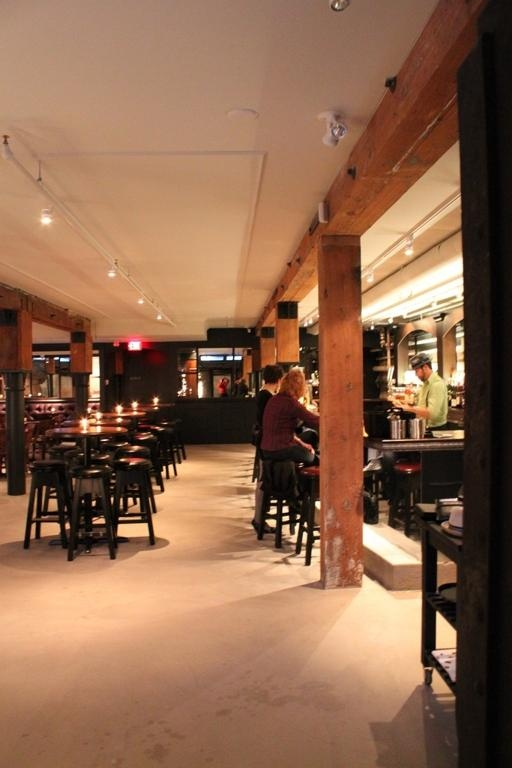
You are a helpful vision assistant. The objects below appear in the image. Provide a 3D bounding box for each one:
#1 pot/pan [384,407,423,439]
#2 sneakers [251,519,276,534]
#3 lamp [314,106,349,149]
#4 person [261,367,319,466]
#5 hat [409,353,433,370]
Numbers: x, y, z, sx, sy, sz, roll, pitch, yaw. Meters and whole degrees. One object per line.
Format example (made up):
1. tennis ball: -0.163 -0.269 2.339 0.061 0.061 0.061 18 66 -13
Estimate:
1. pot/pan: 1.200 0.329 4.504 0.282 0.282 0.169 -1 -1 1
2. sneakers: 0.046 1.386 5.397 0.311 0.129 0.098 0 -5 -1
3. lamp: 0.392 -1.296 2.807 0.136 0.132 0.113 1 -2 -45
4. person: 0.284 0.283 4.857 0.491 0.837 0.589 -1 -2 2
5. hat: 1.626 -0.224 5.460 0.190 0.152 0.287 -1 -2 14
